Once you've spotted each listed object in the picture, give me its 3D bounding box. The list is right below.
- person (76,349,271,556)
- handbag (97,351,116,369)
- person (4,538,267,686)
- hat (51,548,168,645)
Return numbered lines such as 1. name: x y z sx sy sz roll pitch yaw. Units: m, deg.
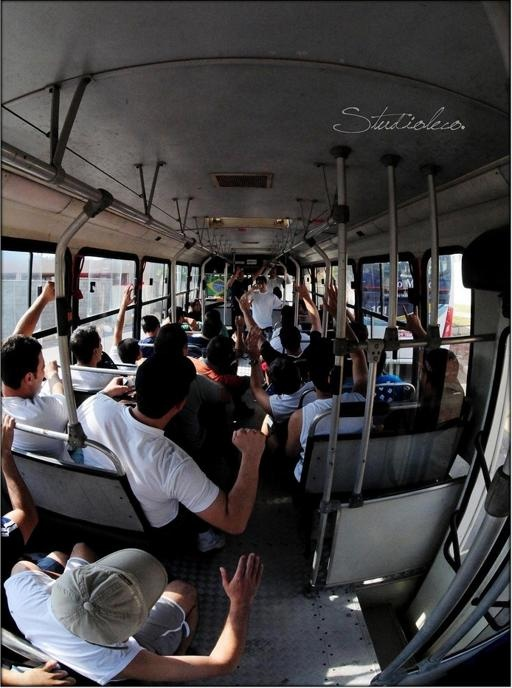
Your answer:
1. person: -0.420 0.610 2.173 0.614 1.133 0.788 -5 9 -38
2. handbag: -1.422 0.167 4.360 0.162 0.085 0.216 0 -7 -7
3. person: -0.513 1.114 1.876 0.437 0.313 0.784 27 -20 2
4. hat: -0.517 0.910 1.641 0.403 0.228 0.239 -2 8 -23
